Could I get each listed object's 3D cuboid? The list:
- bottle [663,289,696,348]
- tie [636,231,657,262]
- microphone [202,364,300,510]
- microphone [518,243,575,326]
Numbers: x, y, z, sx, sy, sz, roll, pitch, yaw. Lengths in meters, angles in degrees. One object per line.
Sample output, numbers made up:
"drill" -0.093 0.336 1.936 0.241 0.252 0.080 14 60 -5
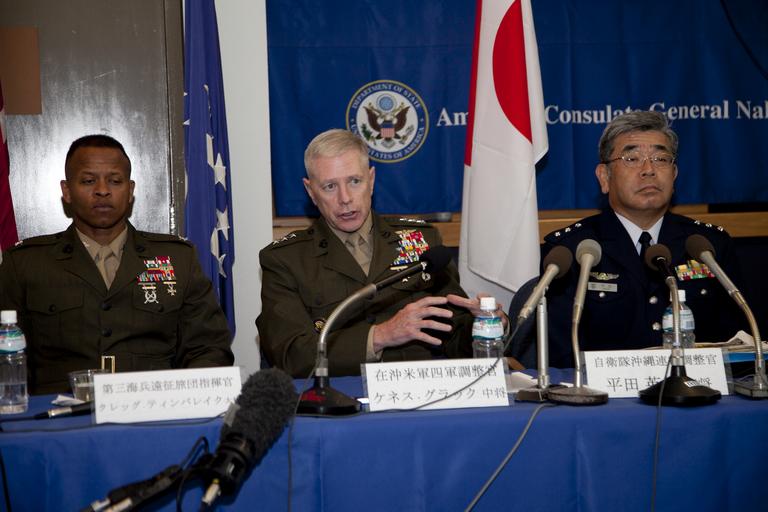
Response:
"bottle" 1.162 0.248 2.911 0.129 0.235 0.127 4 -3 0
"tie" 1.240 -0.045 3.451 0.039 0.148 0.040 9 17 6
"microphone" -0.397 0.549 2.491 0.182 0.179 0.605 21 47 15
"microphone" 0.597 0.102 2.733 0.101 0.099 0.402 13 49 37
